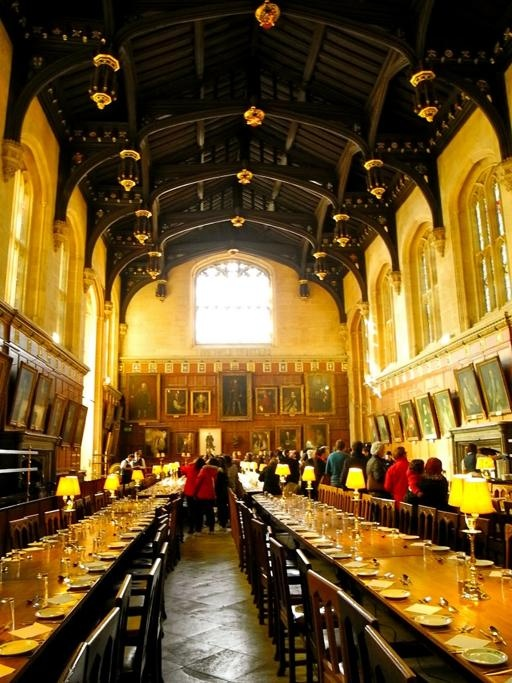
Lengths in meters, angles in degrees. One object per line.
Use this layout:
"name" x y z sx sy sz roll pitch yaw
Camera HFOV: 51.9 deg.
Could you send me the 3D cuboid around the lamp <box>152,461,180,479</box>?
"lamp" -3.107 4.415 18.131 0.966 0.723 1.176 -1 -15 -2
